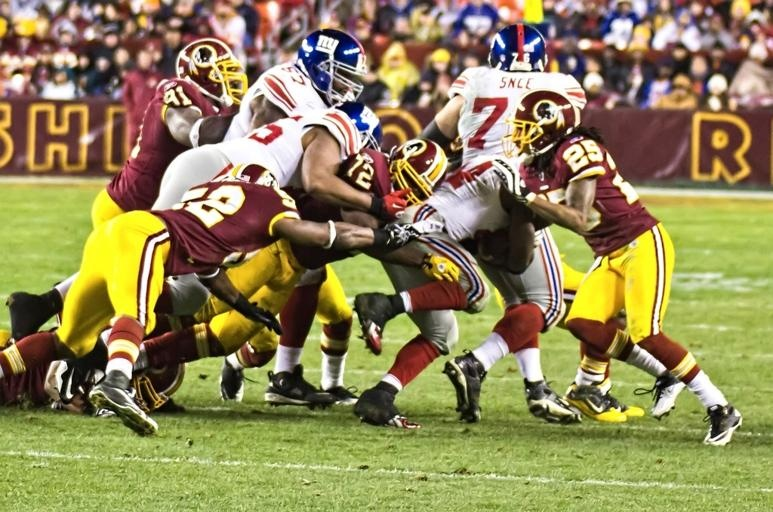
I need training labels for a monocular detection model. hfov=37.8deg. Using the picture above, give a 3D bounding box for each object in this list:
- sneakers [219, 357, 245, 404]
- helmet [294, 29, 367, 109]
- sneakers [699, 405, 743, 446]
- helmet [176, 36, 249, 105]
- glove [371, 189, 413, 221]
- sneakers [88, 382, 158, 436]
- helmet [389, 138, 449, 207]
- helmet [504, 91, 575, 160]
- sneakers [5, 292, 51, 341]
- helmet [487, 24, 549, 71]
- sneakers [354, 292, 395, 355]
[{"bbox_3d":[-1.089,0.895,7.986,0.129,0.348,0.150,-4,15,-20],"label":"sneakers"},{"bbox_3d":[-0.434,-1.418,8.327,0.567,0.512,0.467,16,14,-8],"label":"helmet"},{"bbox_3d":[2.208,1.121,7.413,0.138,0.193,0.397,-16,23,45],"label":"sneakers"},{"bbox_3d":[-1.429,-1.515,9.180,0.591,0.535,0.461,2,12,3],"label":"helmet"},{"bbox_3d":[0.034,-0.324,7.526,0.232,0.106,0.185,-13,29,3],"label":"glove"},{"bbox_3d":[-1.655,0.959,7.005,0.125,0.376,0.174,-37,24,27],"label":"sneakers"},{"bbox_3d":[0.324,-0.614,7.843,0.517,0.406,0.409,13,28,43],"label":"helmet"},{"bbox_3d":[1.063,-0.923,7.732,0.529,0.418,0.378,-10,7,-3],"label":"helmet"},{"bbox_3d":[-2.468,0.412,7.780,0.284,0.274,0.323,-1,14,-11],"label":"sneakers"},{"bbox_3d":[1.042,-1.619,8.933,0.478,0.464,0.624,0,18,3],"label":"helmet"},{"bbox_3d":[-0.109,0.371,7.482,0.282,0.225,0.470,16,45,-21],"label":"sneakers"}]
